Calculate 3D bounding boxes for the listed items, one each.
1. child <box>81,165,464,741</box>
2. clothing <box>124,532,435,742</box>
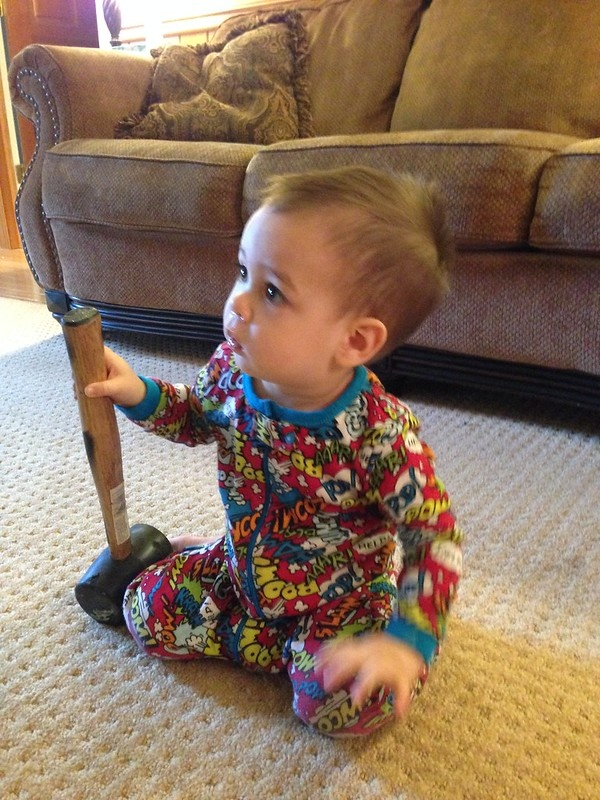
[{"bbox_3d":[0.005,0.038,0.598,0.327,0.435,0.237,10,12,33],"label":"child"},{"bbox_3d":[0.007,0.200,0.693,0.280,0.188,0.094,-14,2,-9],"label":"clothing"}]
